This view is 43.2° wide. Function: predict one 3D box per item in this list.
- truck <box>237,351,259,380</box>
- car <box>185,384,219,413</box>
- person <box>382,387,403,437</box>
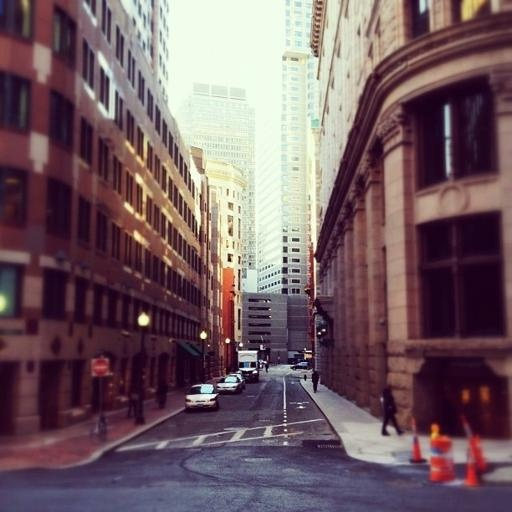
[{"bbox_3d":[-0.873,12.742,75.809,2.256,3.868,3.927,-2,-13,-3],"label":"truck"},{"bbox_3d":[-2.955,7.729,35.848,1.678,1.503,2.348,-7,-15,15],"label":"car"},{"bbox_3d":[4.906,5.475,23.362,0.644,2.159,0.495,-3,18,8],"label":"person"}]
